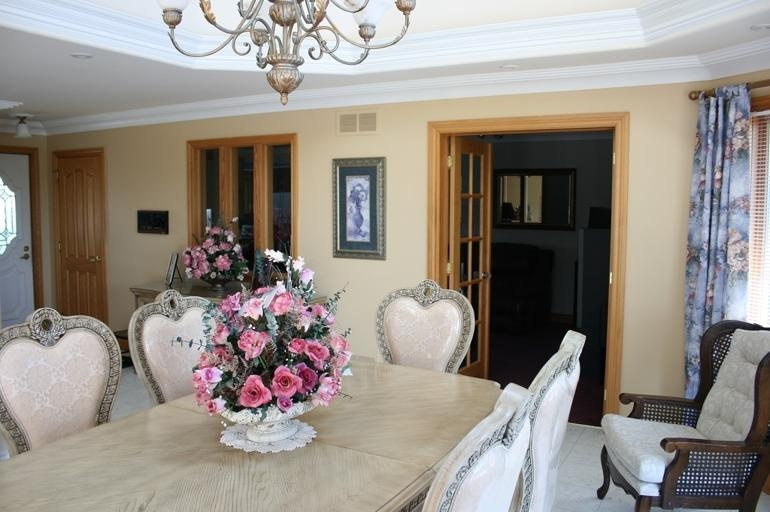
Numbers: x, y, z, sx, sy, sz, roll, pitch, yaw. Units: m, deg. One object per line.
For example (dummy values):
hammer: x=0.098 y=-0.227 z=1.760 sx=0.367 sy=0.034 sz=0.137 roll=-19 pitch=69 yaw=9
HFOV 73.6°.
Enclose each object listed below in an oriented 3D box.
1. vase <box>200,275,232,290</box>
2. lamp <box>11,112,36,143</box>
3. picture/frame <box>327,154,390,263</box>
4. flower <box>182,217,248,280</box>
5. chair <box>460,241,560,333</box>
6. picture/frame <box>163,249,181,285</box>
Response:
vase: x=-1.867 y=0.275 z=5.670 sx=0.218 sy=0.099 sz=0.222 roll=2 pitch=2 yaw=7
lamp: x=-4.724 y=-1.685 z=6.738 sx=0.178 sy=0.264 sz=0.746 roll=-8 pitch=13 yaw=-34
picture/frame: x=-0.264 y=-0.487 z=5.281 sx=0.593 sy=1.007 sz=0.139 roll=3 pitch=11 yaw=19
flower: x=-1.859 y=-0.093 z=5.669 sx=0.701 sy=0.524 sz=0.724 roll=1 pitch=2 yaw=-7
chair: x=1.901 y=0.476 z=8.155 sx=1.102 sy=1.515 sz=1.573 roll=-1 pitch=-3 yaw=23
picture/frame: x=-2.540 y=0.130 z=6.174 sx=0.192 sy=0.358 sz=0.376 roll=2 pitch=7 yaw=-25
